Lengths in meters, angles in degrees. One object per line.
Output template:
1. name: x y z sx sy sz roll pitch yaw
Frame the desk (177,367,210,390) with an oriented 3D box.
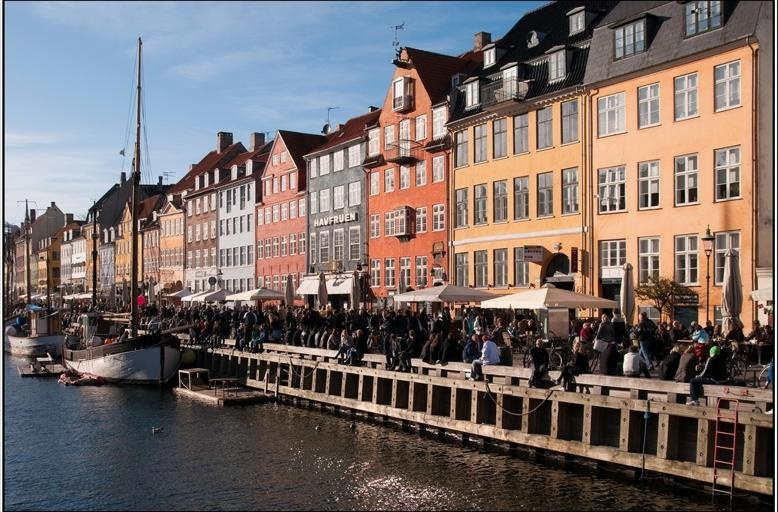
1. desk: -10.904 6.904 60.215 1.372 0.992 1.380 -9 -12 43

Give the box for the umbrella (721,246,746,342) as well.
1. umbrella: 14.601 1.547 45.799 1.042 4.567 0.880 1 -3 -8

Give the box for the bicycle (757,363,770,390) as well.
1. bicycle: 14.632 4.724 41.966 0.350 0.777 0.821 6 8 -10
